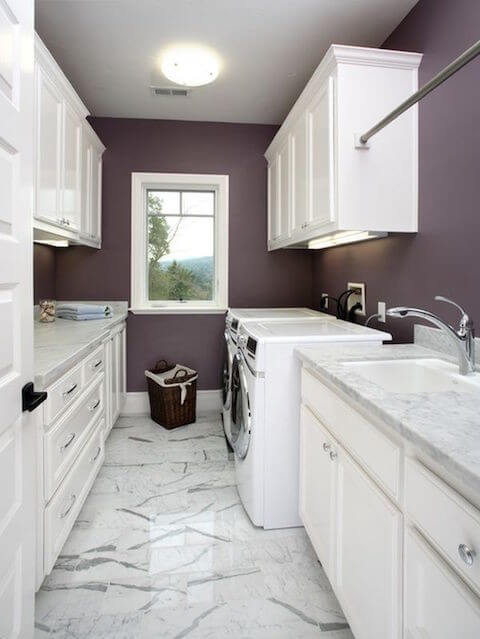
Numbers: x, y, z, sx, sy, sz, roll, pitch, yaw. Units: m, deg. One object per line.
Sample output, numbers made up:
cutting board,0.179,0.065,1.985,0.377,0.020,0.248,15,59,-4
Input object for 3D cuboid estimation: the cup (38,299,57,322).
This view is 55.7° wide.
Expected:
cup,-1.186,-0.066,2.856,0.072,0.161,0.134,0,-1,0

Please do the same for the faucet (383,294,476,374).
faucet,0.678,0.031,1.511,0.217,0.234,0.580,4,6,34

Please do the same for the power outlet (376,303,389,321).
power outlet,0.705,-0.044,2.229,0.021,0.095,0.078,0,0,-5

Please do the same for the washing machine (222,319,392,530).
washing machine,0.213,0.432,2.400,0.496,0.871,0.993,2,6,-8

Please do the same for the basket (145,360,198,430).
basket,-0.510,0.533,3.368,0.344,0.411,0.439,-2,6,-29

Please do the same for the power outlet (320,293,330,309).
power outlet,0.600,-0.137,3.160,0.043,0.124,0.102,1,-1,-4

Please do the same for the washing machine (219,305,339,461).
washing machine,0.162,0.381,2.537,0.535,0.784,0.604,12,17,25

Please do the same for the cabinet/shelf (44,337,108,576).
cabinet/shelf,-0.644,0.537,1.769,0.174,0.507,0.597,-2,15,-8
